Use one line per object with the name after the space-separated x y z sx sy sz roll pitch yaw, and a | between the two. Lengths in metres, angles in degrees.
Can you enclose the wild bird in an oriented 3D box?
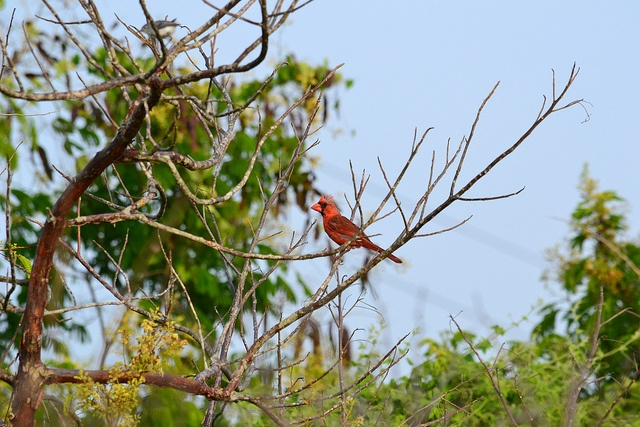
0.377 0.177 9.873 1.042 0.653 0.274 7 -7 19 | wild bird
